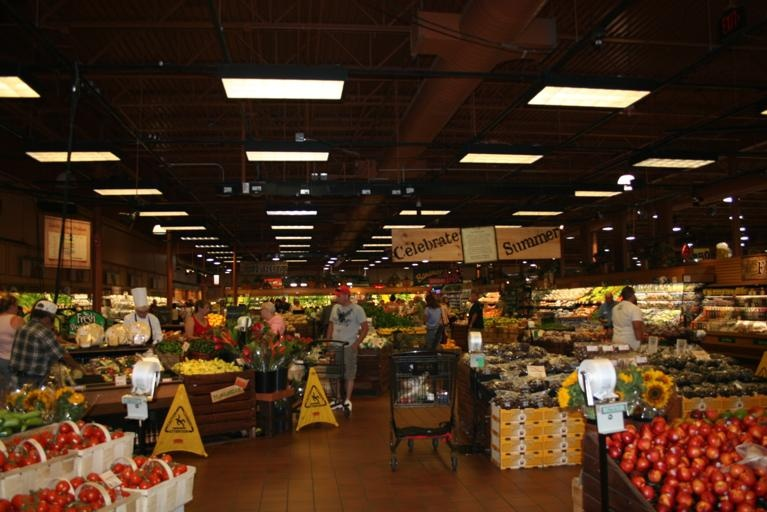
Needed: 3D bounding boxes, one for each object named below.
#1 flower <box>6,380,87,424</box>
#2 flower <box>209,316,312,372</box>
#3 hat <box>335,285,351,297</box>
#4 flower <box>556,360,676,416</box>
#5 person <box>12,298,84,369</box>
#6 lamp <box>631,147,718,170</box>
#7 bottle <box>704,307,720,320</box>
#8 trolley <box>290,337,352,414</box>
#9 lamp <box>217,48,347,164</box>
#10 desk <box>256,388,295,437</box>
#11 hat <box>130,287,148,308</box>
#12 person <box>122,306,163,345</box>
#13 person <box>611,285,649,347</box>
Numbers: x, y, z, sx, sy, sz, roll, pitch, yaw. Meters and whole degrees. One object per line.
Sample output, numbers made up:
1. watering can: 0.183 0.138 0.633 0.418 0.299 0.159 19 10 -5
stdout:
1. flower: -3.196 1.391 5.589 0.520 0.259 0.367 3 -7 -5
2. flower: -1.784 1.333 8.608 0.948 0.540 0.886 7 -9 4
3. hat: -0.654 0.558 9.524 0.211 0.223 0.464 0 8 -6
4. flower: 1.837 1.135 5.032 0.629 0.307 0.545 -1 3 -40
5. person: -4.243 0.986 7.336 0.690 0.900 0.548 2 8 5
6. lamp: 5.842 -1.961 11.786 1.521 0.328 0.641 -2 9 -22
7. bottle: 8.117 1.405 14.491 0.343 0.301 0.184 4 5 41
8. trolley: -0.970 1.947 9.919 1.382 1.557 0.976 -1 -4 -2
9. lamp: -1.432 -2.406 8.391 1.554 0.340 1.292 -5 -38 -4
10. desk: -1.585 2.230 8.596 0.580 0.647 0.719 -4 -7 26
11. hat: -3.764 0.655 9.114 0.211 0.316 0.458 -2 9 -23
12. person: -3.700 1.076 8.988 0.501 0.606 0.755 -1 8 -13
13. person: 3.739 0.981 8.966 0.456 0.975 0.759 4 9 21
